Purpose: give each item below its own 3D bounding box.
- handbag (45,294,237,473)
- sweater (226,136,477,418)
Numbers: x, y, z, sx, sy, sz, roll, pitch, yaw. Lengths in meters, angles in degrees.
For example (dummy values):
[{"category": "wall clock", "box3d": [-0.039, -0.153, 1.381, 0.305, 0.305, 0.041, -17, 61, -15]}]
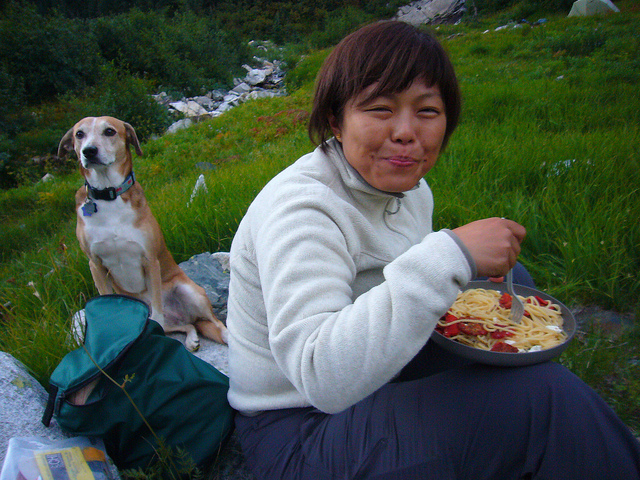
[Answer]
[{"category": "handbag", "box3d": [-1.114, 0.986, 3.489, 1.028, 0.973, 0.713, 4, 30, 18]}, {"category": "sweater", "box3d": [0.220, 0.283, 3.303, 1.339, 1.455, 1.759, -1, 6, 26]}]
